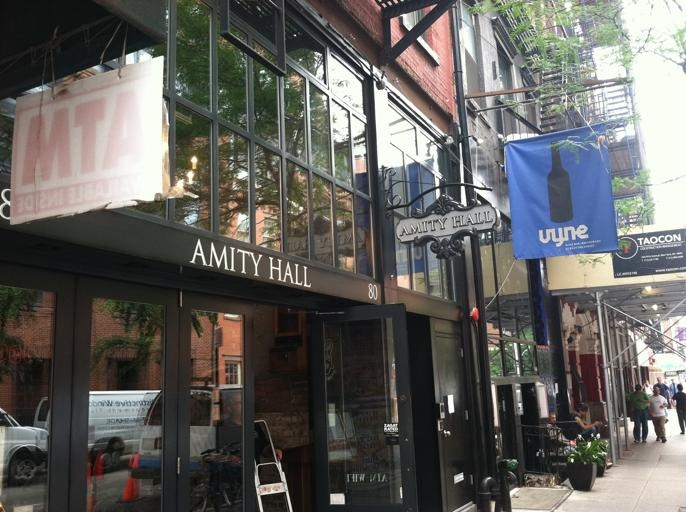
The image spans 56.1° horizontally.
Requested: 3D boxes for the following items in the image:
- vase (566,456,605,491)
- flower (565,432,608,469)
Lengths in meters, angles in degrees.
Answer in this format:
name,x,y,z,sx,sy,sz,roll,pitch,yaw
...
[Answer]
name,x,y,z,sx,sy,sz,roll,pitch,yaw
vase,4.819,4.370,12.893,0.597,0.611,0.749,-3,-12,16
flower,4.868,3.973,13.230,0.901,0.708,0.938,-7,-12,33
